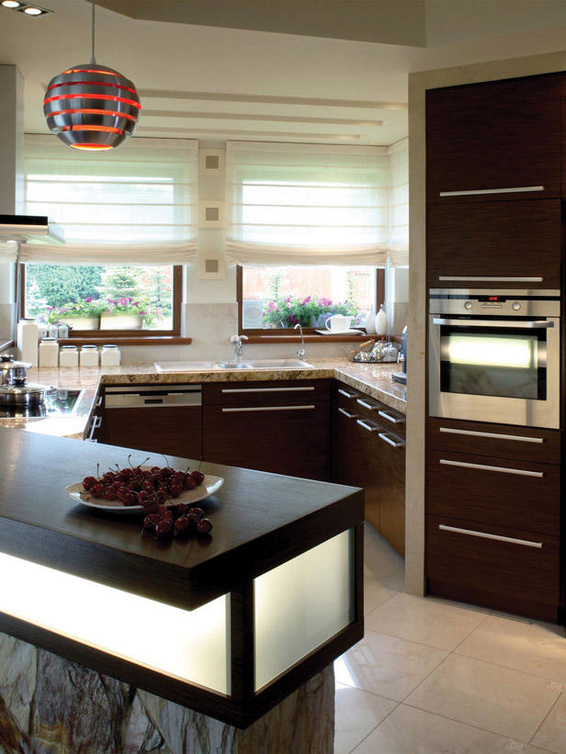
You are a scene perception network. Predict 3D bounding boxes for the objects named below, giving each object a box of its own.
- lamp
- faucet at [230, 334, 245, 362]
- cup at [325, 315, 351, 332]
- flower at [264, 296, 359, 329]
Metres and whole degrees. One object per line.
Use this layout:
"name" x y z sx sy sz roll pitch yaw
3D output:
"lamp" -0.553 -0.817 1.684 0.254 0.284 0.205 -1 3 -23
"faucet" -0.367 -0.229 4.693 0.103 0.219 0.167 0 2 -5
"cup" 0.472 -0.459 4.959 0.180 0.134 0.138 -3 9 -12
"flower" 0.238 -0.550 5.047 0.725 0.277 0.403 8 8 43
